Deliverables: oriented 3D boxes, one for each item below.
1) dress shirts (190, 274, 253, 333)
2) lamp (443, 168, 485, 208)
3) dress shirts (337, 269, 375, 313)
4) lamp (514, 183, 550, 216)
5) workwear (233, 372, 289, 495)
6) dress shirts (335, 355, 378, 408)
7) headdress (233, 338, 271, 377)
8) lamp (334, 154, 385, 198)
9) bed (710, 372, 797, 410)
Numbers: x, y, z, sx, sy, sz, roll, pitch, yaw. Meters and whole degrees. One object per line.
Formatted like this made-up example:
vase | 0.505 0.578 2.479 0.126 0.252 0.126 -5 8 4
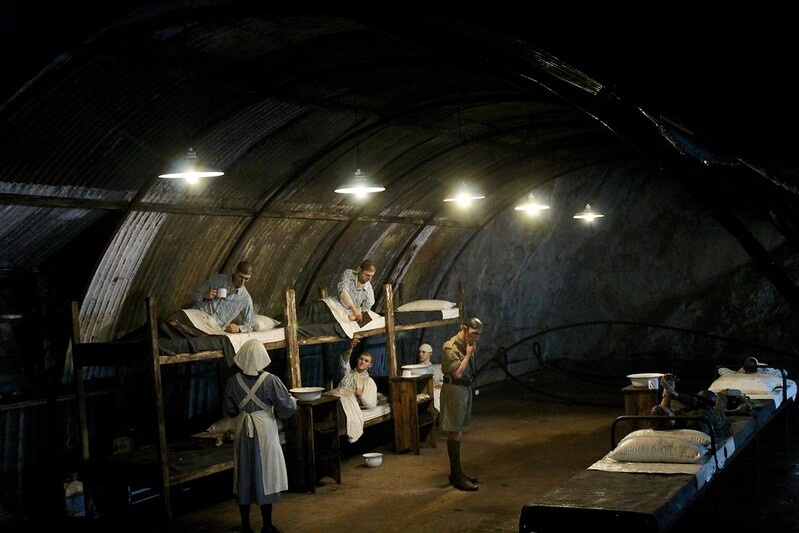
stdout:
dress shirts | -3.061 0.662 10.937 0.845 0.599 0.502 32 0 -11
lamp | 1.622 -1.763 15.611 0.993 0.543 0.942 -5 -6 -3
dress shirts | -0.898 0.496 12.974 1.046 0.979 0.570 5 0 -37
lamp | 3.628 -1.702 17.196 1.082 0.616 1.029 0 -1 -26
workwear | -2.106 2.430 9.344 0.793 1.683 0.582 -1 -7 9
dress shirts | -0.889 2.325 12.751 0.767 1.027 0.720 12 -19 5
headdress | -2.165 1.266 9.302 0.521 0.408 0.502 2 18 -18
lamp | -0.738 -1.493 11.340 0.997 0.515 0.945 0 -1 0
bed | 6.269 2.102 11.091 1.163 0.285 1.138 0 -3 21
